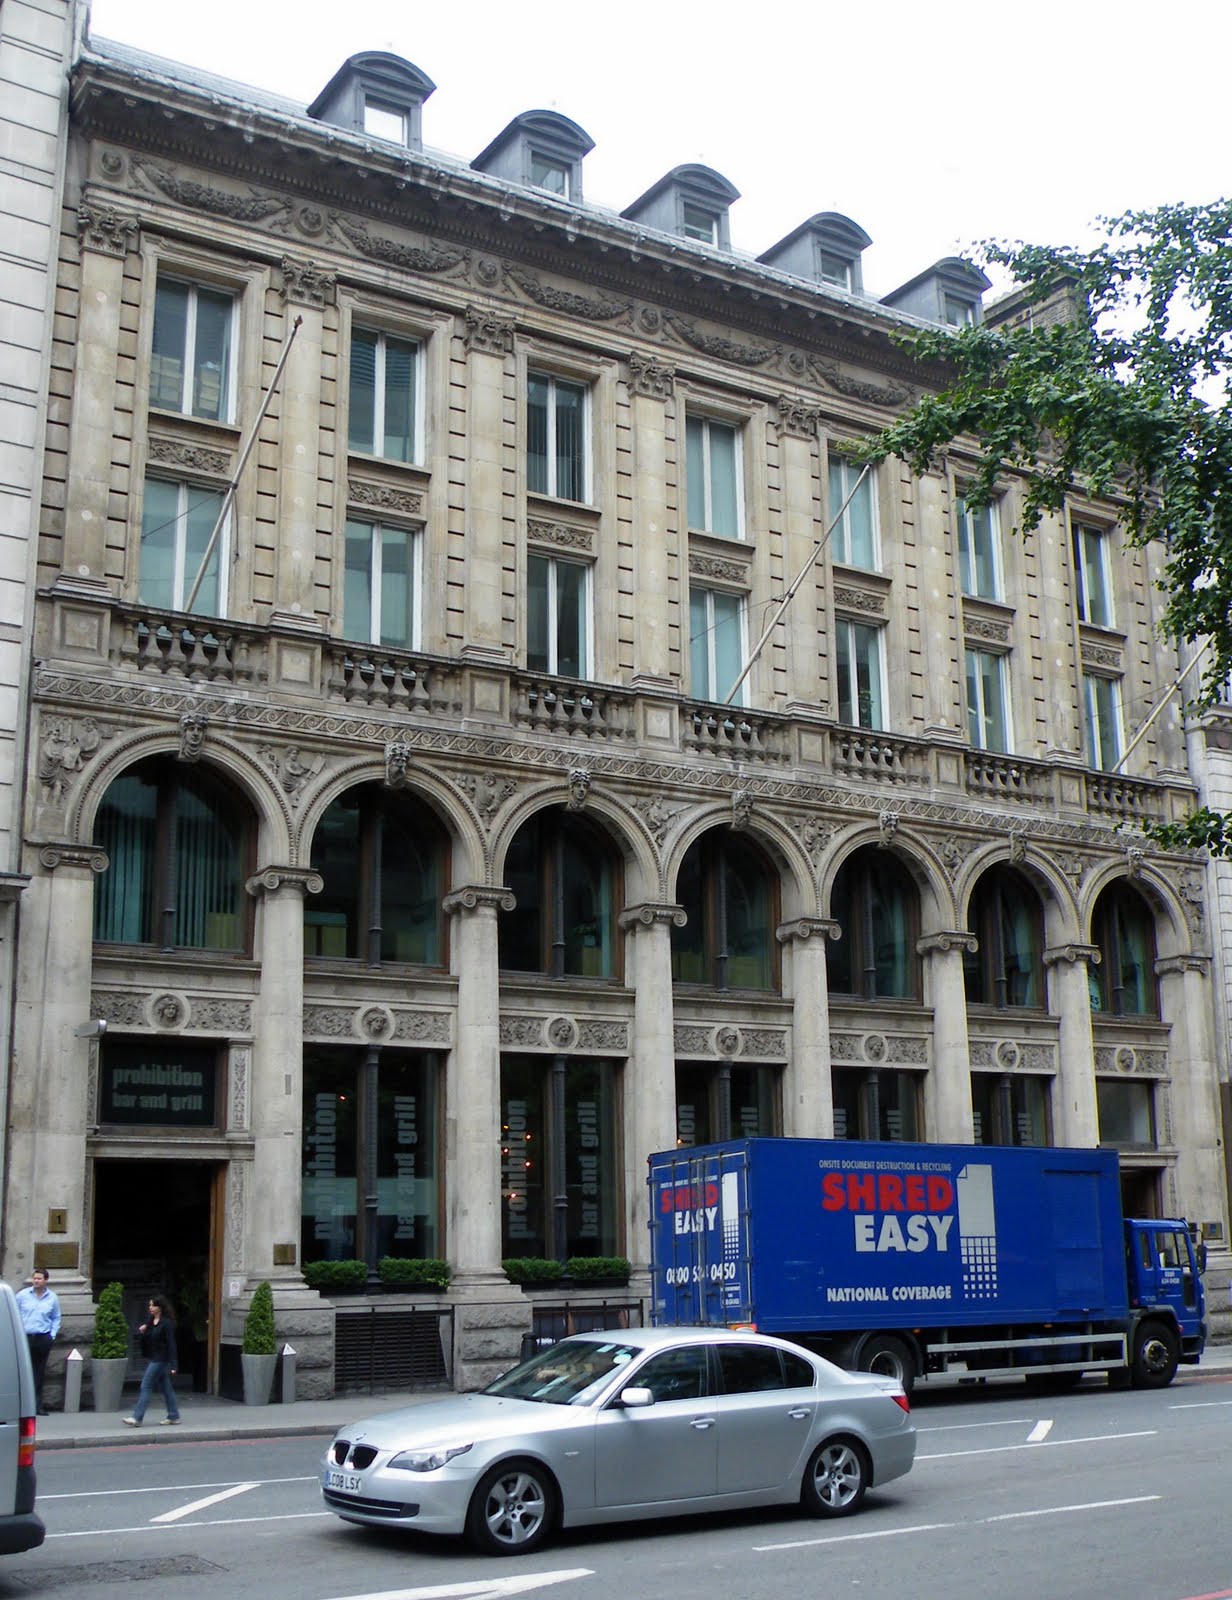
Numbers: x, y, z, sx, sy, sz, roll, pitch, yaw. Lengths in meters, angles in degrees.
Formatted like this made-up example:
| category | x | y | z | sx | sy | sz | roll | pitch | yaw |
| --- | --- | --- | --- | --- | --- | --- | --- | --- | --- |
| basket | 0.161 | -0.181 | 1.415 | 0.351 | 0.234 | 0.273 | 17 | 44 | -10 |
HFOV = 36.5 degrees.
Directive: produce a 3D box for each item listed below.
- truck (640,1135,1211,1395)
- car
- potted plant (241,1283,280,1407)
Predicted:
| category | x | y | z | sx | sy | sz | roll | pitch | yaw |
| --- | --- | --- | --- | --- | --- | --- | --- | --- | --- |
| truck | 4.357 | 6.270 | 24.598 | 7.973 | 2.978 | 2.494 | 8 | -19 | -32 |
| car | 0.113 | 4.491 | 13.075 | 4.105 | 1.336 | 0.942 | 6 | -15 | -35 |
| potted plant | -4.481 | 6.840 | 23.549 | 0.467 | 1.462 | 0.510 | 1 | -13 | -12 |
